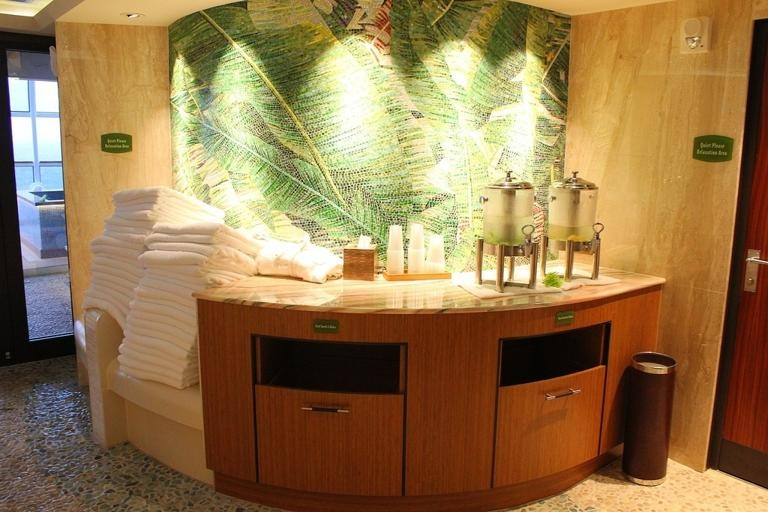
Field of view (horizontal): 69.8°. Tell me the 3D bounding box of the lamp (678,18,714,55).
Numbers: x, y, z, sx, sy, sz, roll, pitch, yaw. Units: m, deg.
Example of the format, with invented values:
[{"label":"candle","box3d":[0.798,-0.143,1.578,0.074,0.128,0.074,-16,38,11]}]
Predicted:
[{"label":"lamp","box3d":[2.277,-1.610,4.013,0.195,0.243,0.055,7,14,22]}]
